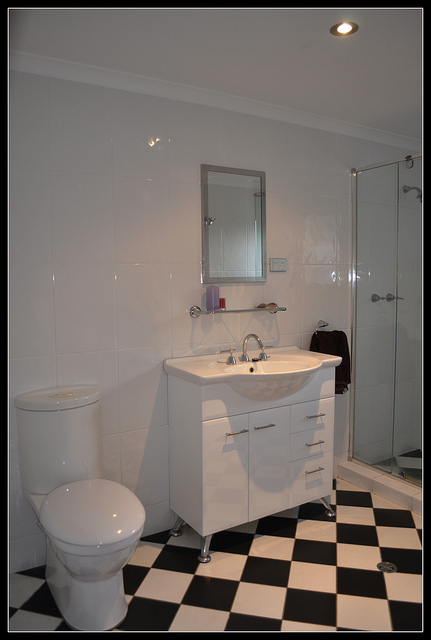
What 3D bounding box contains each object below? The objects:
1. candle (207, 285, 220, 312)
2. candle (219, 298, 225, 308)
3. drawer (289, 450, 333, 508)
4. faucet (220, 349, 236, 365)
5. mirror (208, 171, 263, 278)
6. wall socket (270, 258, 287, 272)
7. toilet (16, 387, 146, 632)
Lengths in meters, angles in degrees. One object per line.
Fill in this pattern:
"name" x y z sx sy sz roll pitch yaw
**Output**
"candle" -0.007 -0.107 2.350 0.097 0.125 0.058 -6 8 -33
"candle" 0.033 -0.085 2.375 0.023 0.047 0.016 -4 7 -23
"drawer" 0.521 0.824 2.389 0.230 0.266 0.185 -15 -35 13
"faucet" 0.055 0.183 2.279 0.051 0.114 0.067 0 -1 25
"mirror" 0.089 -0.507 2.431 0.451 0.790 0.013 -5 7 -38
"wall socket" 0.352 -0.310 2.644 0.124 0.077 0.023 -8 9 -41
"toilet" -0.497 0.680 1.737 0.361 0.739 0.656 -5 8 -28
